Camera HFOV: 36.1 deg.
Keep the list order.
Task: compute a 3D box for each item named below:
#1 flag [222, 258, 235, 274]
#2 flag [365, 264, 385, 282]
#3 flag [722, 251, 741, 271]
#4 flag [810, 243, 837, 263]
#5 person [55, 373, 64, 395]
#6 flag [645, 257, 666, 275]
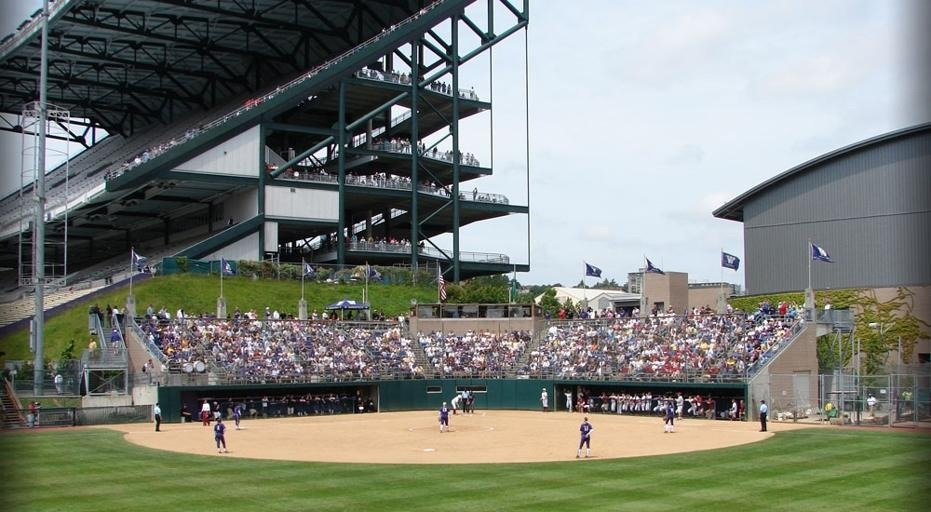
[{"bbox_3d":[-28.355,1.297,171.172,0.228,2.043,1.957,-10,-7,30],"label":"flag"},{"bbox_3d":[-11.370,2.341,179.507,2.165,1.934,0.793,5,-11,-34],"label":"flag"},{"bbox_3d":[22.980,0.552,124.898,1.932,1.154,0.196,9,-17,-28],"label":"flag"},{"bbox_3d":[39.689,-0.255,158.913,2.441,2.176,0.364,7,-34,-17],"label":"flag"},{"bbox_3d":[-42.314,13.318,149.170,0.958,2.084,0.302,2,-10,-17],"label":"person"},{"bbox_3d":[17.755,1.253,136.110,2.518,2.239,0.260,-1,0,-14],"label":"flag"}]
